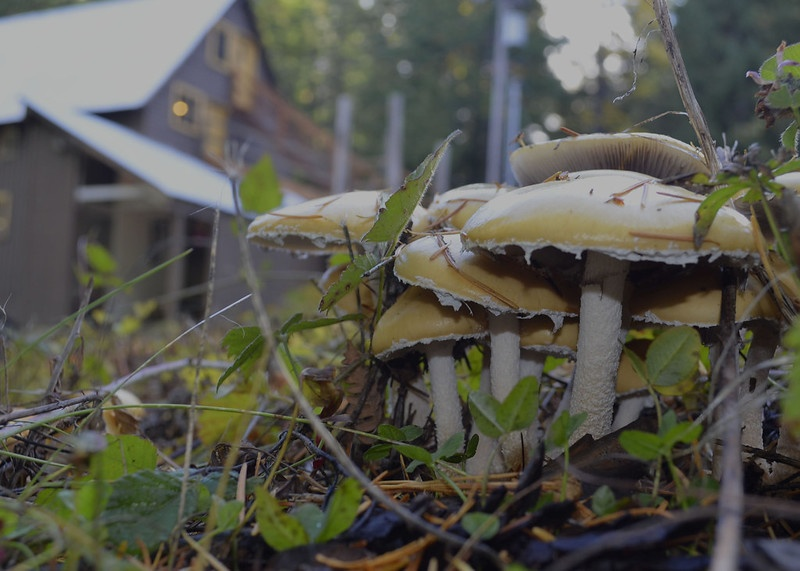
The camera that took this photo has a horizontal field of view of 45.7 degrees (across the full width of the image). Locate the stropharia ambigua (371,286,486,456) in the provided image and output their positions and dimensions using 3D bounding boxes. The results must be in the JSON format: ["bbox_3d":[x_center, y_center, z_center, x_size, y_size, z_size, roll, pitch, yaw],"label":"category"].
[{"bbox_3d":[0.127,0.242,3.069,0.383,0.629,0.388,-6,17,12],"label":"stropharia ambigua"}]
